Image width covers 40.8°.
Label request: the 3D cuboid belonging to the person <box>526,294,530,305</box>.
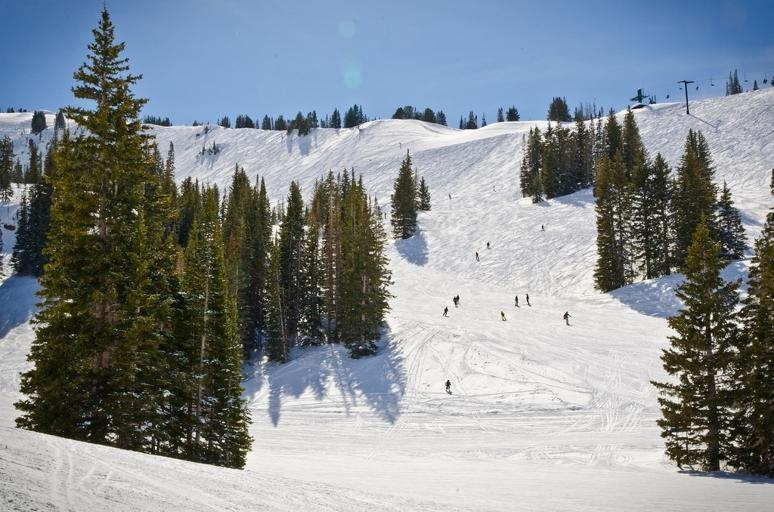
[{"bbox_3d":[21.516,6.730,158.075,0.686,1.568,2.425,-1,-1,7],"label":"person"}]

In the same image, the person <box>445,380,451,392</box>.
[{"bbox_3d":[8.224,17.601,140.010,0.724,1.548,0.919,-1,-1,3],"label":"person"}]
